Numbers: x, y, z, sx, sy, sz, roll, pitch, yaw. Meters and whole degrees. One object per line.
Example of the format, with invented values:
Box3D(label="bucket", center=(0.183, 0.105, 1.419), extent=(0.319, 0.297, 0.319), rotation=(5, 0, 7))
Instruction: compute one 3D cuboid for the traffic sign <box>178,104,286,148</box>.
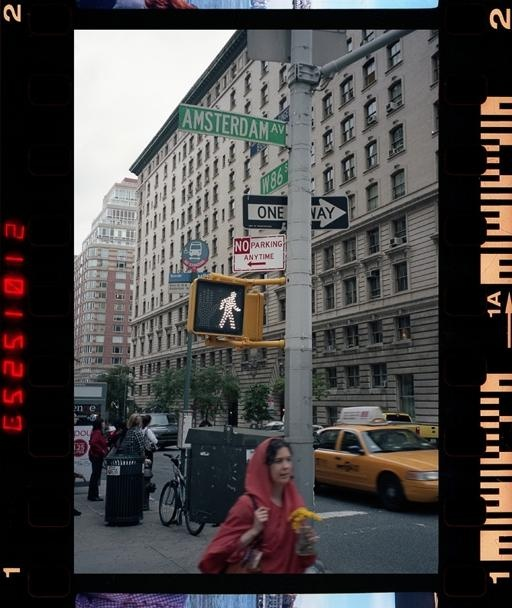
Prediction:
Box3D(label="traffic sign", center=(-0.180, -1.265, 4.860), extent=(0.943, 0.279, 0.134), rotation=(8, -13, -39))

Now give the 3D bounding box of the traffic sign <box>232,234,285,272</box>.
Box3D(label="traffic sign", center=(0.002, -0.354, 4.950), extent=(0.419, 0.253, 0.036), rotation=(-5, 11, -24))

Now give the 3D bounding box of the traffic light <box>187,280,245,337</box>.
Box3D(label="traffic light", center=(-0.288, 0.039, 4.938), extent=(0.469, 0.421, 0.121), rotation=(3, -7, -18))

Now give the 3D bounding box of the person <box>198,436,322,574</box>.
Box3D(label="person", center=(0.003, 0.998, 3.416), extent=(0.569, 0.647, 0.146), rotation=(1, -11, -2))

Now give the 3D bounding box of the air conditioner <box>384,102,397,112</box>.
Box3D(label="air conditioner", center=(1.138, -1.665, 5.859), extent=(0.137, 0.080, 0.068), rotation=(3, 4, 17))

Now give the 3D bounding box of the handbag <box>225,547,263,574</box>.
Box3D(label="handbag", center=(-0.047, 1.244, 3.324), extent=(0.141, 0.121, 0.044), rotation=(-2, -31, 25))

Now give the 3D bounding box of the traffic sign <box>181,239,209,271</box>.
Box3D(label="traffic sign", center=(-0.470, -0.355, 5.359), extent=(0.206, 0.272, 0.208), rotation=(2, -10, -9))

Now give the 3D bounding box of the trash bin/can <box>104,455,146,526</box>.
Box3D(label="trash bin/can", center=(-1.539, 2.022, 7.405), extent=(0.564, 0.642, 0.524), rotation=(-6, -18, 19))
